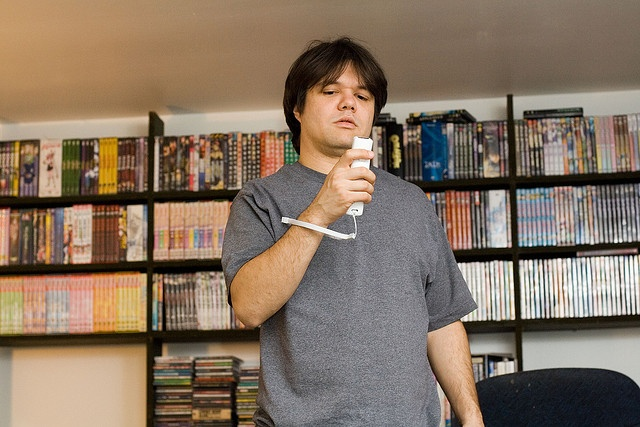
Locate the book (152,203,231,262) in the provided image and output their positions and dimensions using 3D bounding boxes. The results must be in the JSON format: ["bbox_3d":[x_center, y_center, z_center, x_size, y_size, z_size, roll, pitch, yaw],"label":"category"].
[{"bbox_3d":[-0.776,0.128,4.395,0.314,0.314,0.171,2,-10,0],"label":"book"}]

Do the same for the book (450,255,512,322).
[{"bbox_3d":[0.899,0.426,3.944,0.427,0.442,0.237,-2,-7,4],"label":"book"}]
